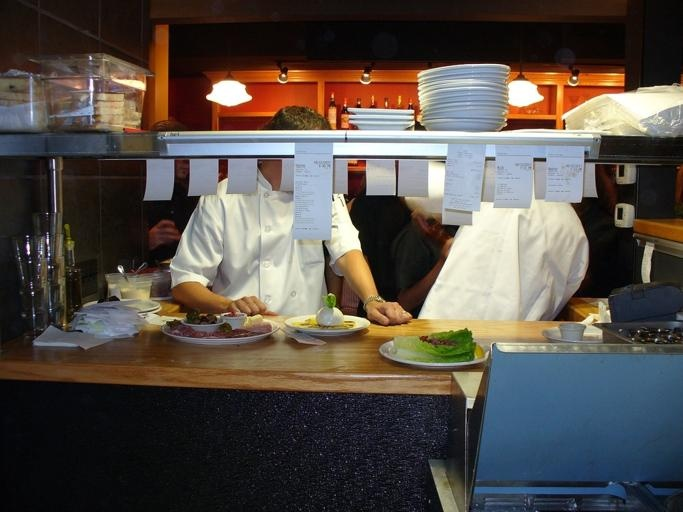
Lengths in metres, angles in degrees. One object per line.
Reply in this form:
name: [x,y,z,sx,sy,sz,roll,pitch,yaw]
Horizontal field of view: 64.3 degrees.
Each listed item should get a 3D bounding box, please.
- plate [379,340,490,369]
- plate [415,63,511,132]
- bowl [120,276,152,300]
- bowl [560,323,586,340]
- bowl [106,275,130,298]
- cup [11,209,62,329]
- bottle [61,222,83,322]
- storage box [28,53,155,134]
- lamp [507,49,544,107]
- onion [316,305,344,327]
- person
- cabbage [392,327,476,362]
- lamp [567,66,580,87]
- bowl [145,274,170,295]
plate: [0.297,0.328,1.823,0.357,0.052,0.180,3,7,18]
plate: [0.359,-0.478,1.639,0.241,0.140,0.223,-6,16,-15]
bowl: [-1.033,0.151,2.746,0.131,0.096,0.123,1,1,0]
bowl: [0.801,0.257,1.912,0.065,0.039,0.064,-2,5,0]
bowl: [-1.109,0.141,2.734,0.113,0.119,0.116,1,4,0]
cup: [-1.145,0.062,2.090,0.125,0.455,0.192,7,9,44]
bottle: [-1.202,0.053,2.436,0.059,0.393,0.374,-3,7,-26]
storage box: [-0.865,-0.563,1.914,0.254,0.224,0.340,6,9,10]
lamp: [1.693,-1.628,5.003,0.275,0.514,0.851,3,7,18]
onion: [-0.044,0.234,2.142,0.081,0.076,0.080,2,4,7]
person: [0.162,-0.179,2.640,1.932,1.010,0.896,-1,7,-13]
cabbage: [0.311,0.280,1.806,0.177,0.063,0.128,1,2,0]
lamp: [2.189,-1.701,5.128,0.089,0.161,0.193,3,7,22]
bowl: [-0.989,0.151,2.935,0.108,0.079,0.100,1,4,0]
